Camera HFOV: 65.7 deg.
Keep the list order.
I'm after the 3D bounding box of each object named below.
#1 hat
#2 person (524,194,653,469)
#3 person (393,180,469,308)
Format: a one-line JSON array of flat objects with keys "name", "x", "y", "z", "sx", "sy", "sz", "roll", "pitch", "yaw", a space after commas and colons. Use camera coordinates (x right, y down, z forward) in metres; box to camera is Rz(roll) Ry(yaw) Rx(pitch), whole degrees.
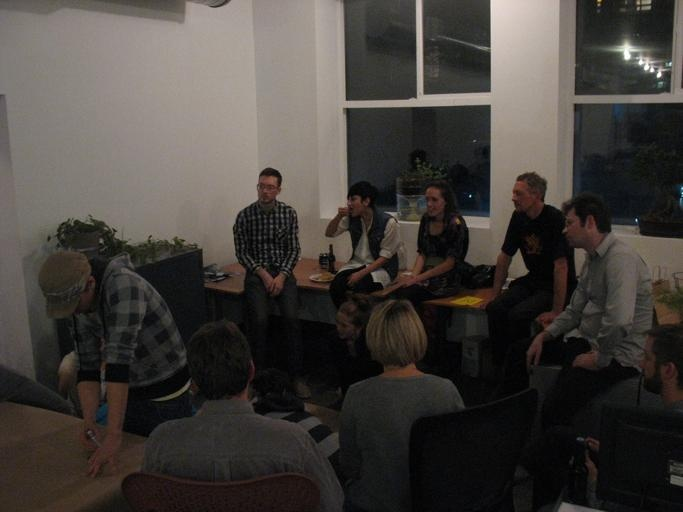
[{"name": "hat", "x": -1.160, "y": 0.128, "z": 2.250, "sx": 0.195, "sy": 0.289, "sz": 0.188, "roll": -6, "pitch": 10, "yaw": -23}, {"name": "person", "x": 1.538, "y": 0.458, "z": 3.374, "sx": 0.784, "sy": 1.609, "sz": 0.702, "roll": 7, "pitch": 6, "yaw": 42}, {"name": "person", "x": 0.776, "y": -0.130, "z": 4.666, "sx": 0.627, "sy": 1.017, "sz": 0.475, "roll": -3, "pitch": 9, "yaw": -9}]
